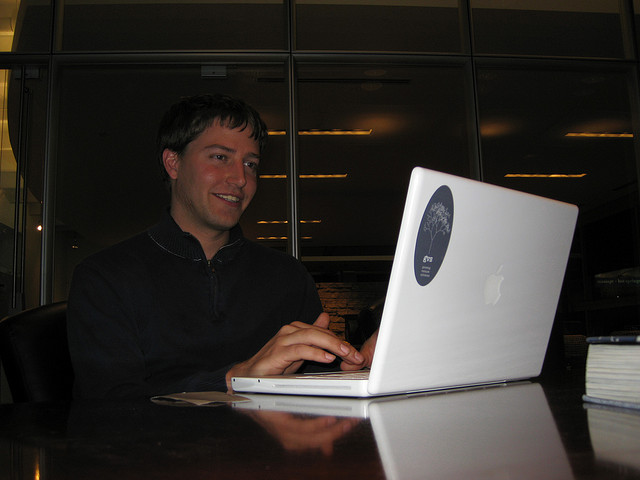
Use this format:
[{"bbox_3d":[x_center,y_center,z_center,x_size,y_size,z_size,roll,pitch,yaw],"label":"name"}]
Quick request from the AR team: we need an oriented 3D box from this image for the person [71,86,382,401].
[{"bbox_3d":[-0.407,-0.045,2.254,1.298,1.137,0.834,16,-33,-42],"label":"person"}]

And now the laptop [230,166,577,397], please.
[{"bbox_3d":[0.201,0.008,1.159,0.497,0.347,0.584,-9,-15,44],"label":"laptop"}]
